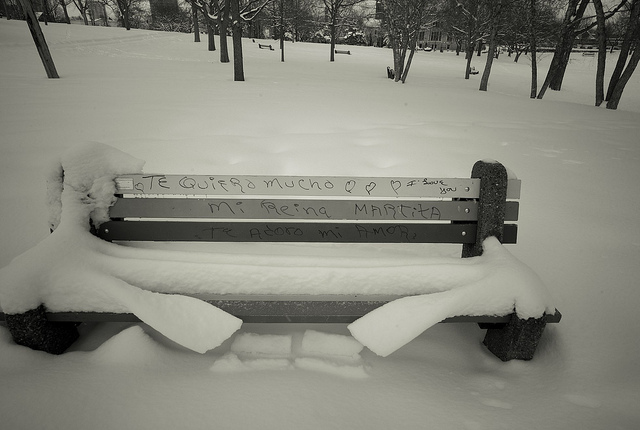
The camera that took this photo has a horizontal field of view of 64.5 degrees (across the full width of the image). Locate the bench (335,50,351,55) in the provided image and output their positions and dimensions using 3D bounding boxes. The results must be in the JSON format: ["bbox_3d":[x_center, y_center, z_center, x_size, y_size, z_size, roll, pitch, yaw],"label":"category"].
[{"bbox_3d":[1.577,-11.069,34.619,1.067,0.182,0.845,1,28,1],"label":"bench"}]

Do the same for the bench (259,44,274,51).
[{"bbox_3d":[-3.343,-10.389,31.321,0.785,0.233,1.246,-3,28,-7],"label":"bench"}]
